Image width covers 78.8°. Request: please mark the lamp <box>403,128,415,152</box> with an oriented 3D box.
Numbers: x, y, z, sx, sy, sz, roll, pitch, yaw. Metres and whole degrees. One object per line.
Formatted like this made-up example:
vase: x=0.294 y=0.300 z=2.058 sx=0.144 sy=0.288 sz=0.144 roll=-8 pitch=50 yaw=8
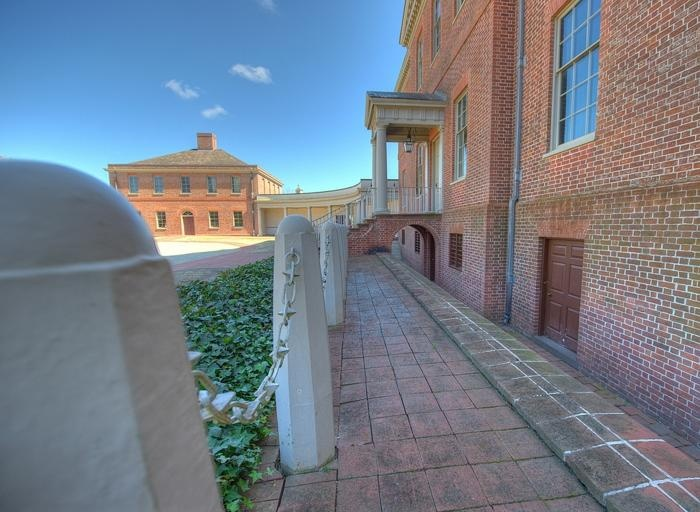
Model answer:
lamp: x=1.759 y=-3.482 z=12.648 sx=0.306 sy=0.302 sz=0.905 roll=-3 pitch=-10 yaw=3
